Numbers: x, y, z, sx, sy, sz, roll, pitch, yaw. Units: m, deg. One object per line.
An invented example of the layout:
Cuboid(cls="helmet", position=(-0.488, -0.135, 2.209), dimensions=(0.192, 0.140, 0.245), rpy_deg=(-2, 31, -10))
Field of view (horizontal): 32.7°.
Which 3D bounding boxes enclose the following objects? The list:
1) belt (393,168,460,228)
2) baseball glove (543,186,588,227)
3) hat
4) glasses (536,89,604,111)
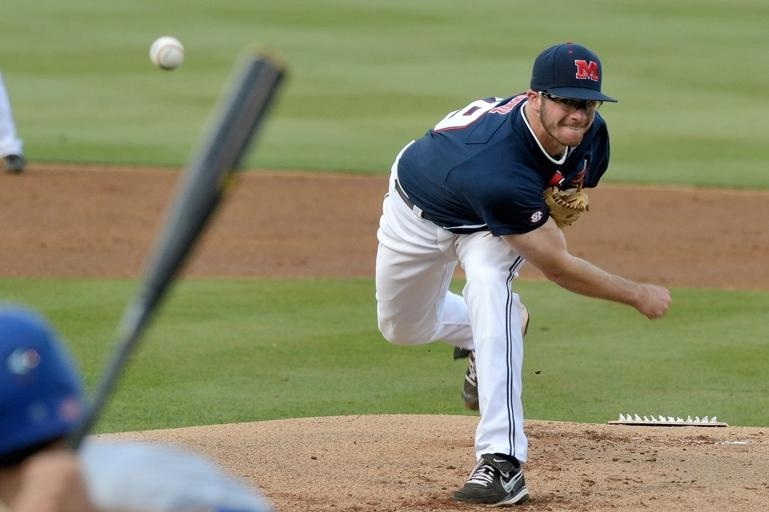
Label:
Cuboid(cls="belt", position=(0.350, -0.490, 11.163), dimensions=(0.493, 0.116, 0.374), rpy_deg=(36, 2, -1))
Cuboid(cls="baseball glove", position=(1.474, -0.419, 11.033), dimensions=(0.297, 0.174, 0.358), rpy_deg=(-4, 32, -17))
Cuboid(cls="hat", position=(1.565, -1.533, 10.810), dimensions=(0.648, 0.340, 0.463), rpy_deg=(12, 10, 34))
Cuboid(cls="glasses", position=(1.508, -1.273, 10.774), dimensions=(0.495, 0.135, 0.152), rpy_deg=(3, 14, 1))
